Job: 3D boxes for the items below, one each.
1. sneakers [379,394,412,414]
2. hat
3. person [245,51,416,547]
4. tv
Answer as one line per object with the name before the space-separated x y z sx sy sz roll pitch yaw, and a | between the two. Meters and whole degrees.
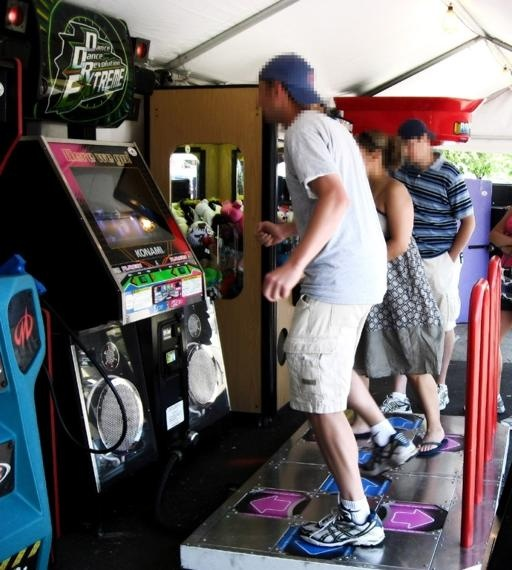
sneakers | 0.990 0.840 3.301 0.270 0.147 0.107 -1 1 13
hat | 0.104 -0.752 1.732 0.241 0.094 0.449 0 23 8
person | 0.207 0.074 1.524 0.386 1.724 0.640 -3 -2 23
tv | -0.648 -0.329 2.339 0.265 0.811 0.790 -12 6 20
